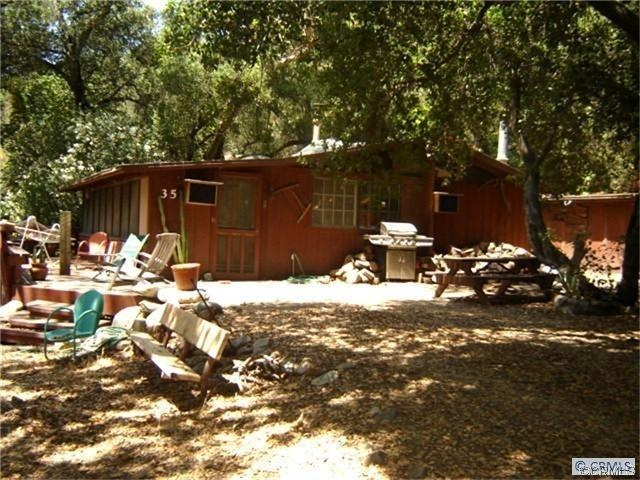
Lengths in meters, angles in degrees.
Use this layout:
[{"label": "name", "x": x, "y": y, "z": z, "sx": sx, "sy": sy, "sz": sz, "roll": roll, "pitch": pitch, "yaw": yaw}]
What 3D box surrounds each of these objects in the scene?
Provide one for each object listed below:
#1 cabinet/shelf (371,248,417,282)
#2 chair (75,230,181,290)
[{"label": "cabinet/shelf", "x": 2.023, "y": 0.650, "z": 13.213, "sx": 1.102, "sy": 0.995, "sz": 0.783, "roll": 1, "pitch": 13, "yaw": 8}, {"label": "chair", "x": -3.559, "y": 0.440, "z": 9.369, "sx": 1.739, "sy": 1.198, "sz": 1.084, "roll": -3, "pitch": 4, "yaw": -15}]
